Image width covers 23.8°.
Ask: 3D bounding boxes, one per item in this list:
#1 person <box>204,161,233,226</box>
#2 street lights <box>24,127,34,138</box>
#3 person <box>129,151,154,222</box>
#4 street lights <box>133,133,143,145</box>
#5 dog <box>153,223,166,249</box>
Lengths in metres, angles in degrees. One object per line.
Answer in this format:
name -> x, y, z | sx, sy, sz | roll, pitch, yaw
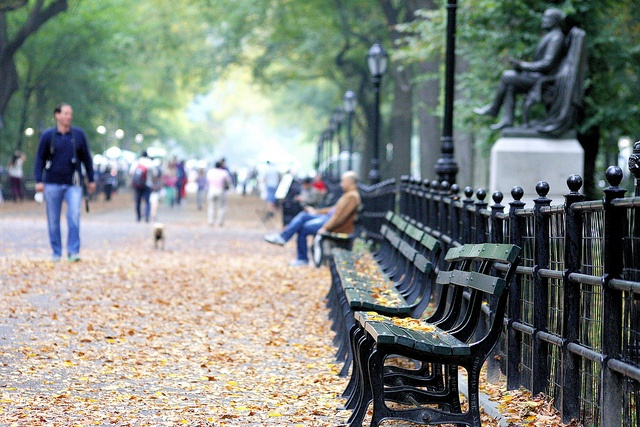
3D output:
person -> -3.164, -0.602, 46.966 | 0.698, 1.949, 0.970 | 0, 0, 2
street lights -> -11.825, -3.328, 62.240 | 0.370, 0.403, 0.089 | -5, 2, -19
person -> -5.426, -0.874, 46.994 | 0.639, 2.044, 0.986 | 0, 0, -7
street lights -> -9.397, -3.879, 79.159 | 0.383, 0.407, 0.677 | -29, 9, -7
dog -> -4.180, 0.617, 39.917 | 0.264, 0.675, 0.546 | -1, 4, -7
